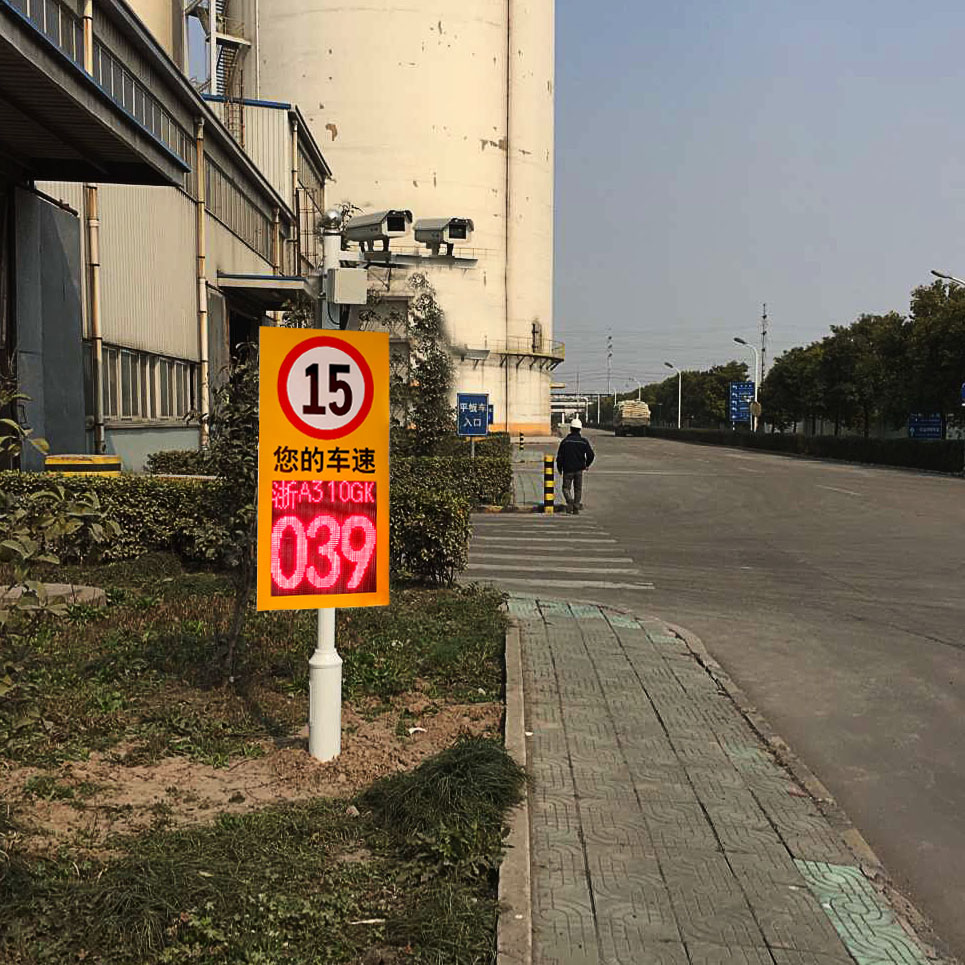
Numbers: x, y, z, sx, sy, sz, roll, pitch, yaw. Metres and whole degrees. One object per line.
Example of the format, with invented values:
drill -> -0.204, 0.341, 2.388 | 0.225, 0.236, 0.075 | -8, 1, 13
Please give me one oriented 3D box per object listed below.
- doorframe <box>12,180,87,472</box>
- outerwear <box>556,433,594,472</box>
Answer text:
doorframe -> -5.772, -2.080, 17.202 | 0.608, 3.496, 2.837 | 1, 5, -11
outerwear -> 1.573, -0.502, 21.791 | 0.524, 0.776, 1.196 | 3, 6, 3
